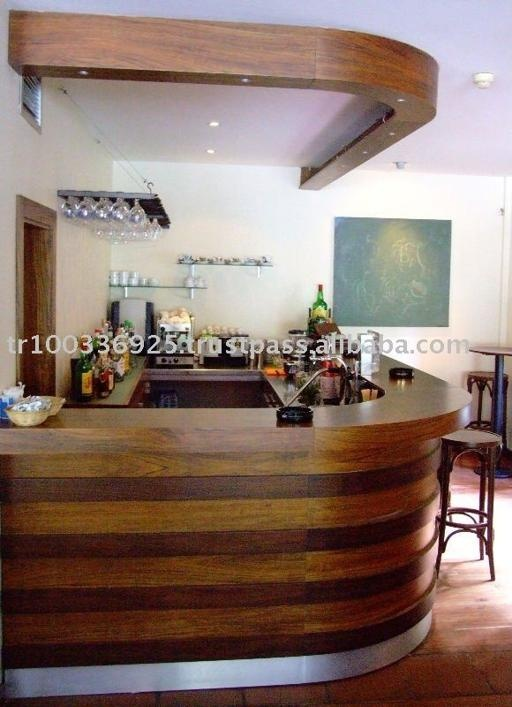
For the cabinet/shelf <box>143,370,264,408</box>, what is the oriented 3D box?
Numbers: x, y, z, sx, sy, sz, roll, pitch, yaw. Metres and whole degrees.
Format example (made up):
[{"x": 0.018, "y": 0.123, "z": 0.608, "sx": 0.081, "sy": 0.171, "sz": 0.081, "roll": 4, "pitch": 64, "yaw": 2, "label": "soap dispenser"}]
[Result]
[{"x": -0.431, "y": 0.286, "z": 4.901, "sx": 1.101, "sy": 0.301, "sz": 0.512, "roll": 1, "pitch": -15, "yaw": 0, "label": "cabinet/shelf"}]
